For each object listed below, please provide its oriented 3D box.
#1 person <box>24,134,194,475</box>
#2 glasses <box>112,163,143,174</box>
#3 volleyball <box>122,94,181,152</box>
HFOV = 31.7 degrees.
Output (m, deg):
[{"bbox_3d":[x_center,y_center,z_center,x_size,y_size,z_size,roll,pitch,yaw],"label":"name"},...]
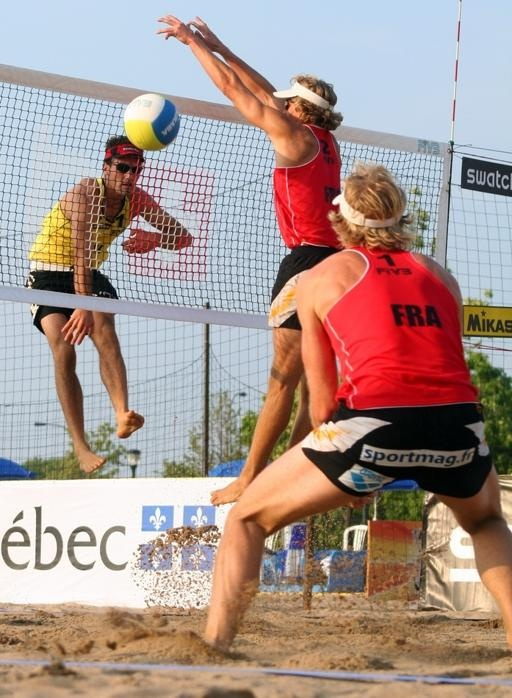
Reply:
[{"bbox_3d":[-0.864,-0.472,5.498,0.868,2.487,0.994,5,-1,41],"label":"person"},{"bbox_3d":[-0.712,-1.032,5.127,0.160,0.041,0.074,2,2,-36],"label":"glasses"},{"bbox_3d":[-0.524,-1.210,4.783,0.322,0.284,0.302,-29,31,-25],"label":"volleyball"}]
